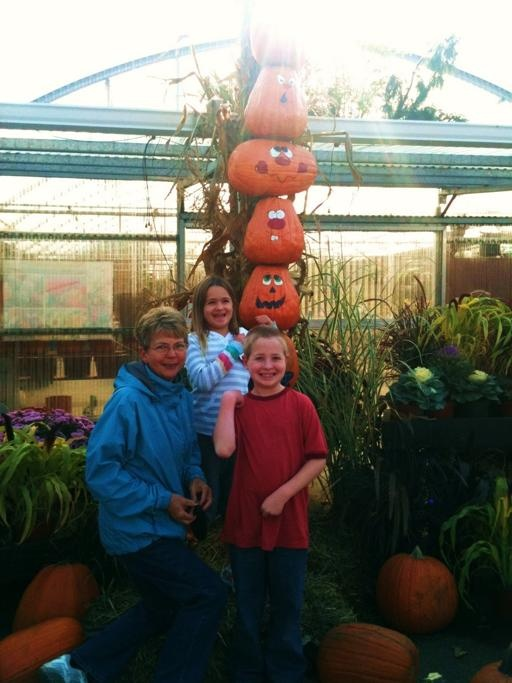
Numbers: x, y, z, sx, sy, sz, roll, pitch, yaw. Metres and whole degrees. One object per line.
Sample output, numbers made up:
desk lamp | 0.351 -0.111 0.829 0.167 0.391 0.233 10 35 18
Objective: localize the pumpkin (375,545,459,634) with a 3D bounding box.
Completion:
pumpkin | 0.708 1.057 2.750 0.306 0.315 0.293 -4 -2 29
